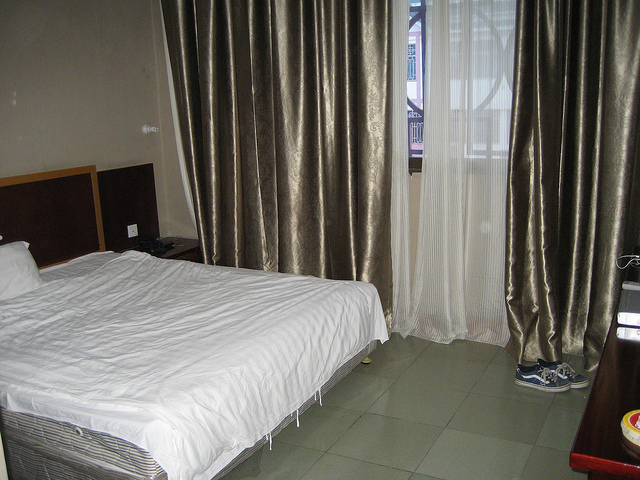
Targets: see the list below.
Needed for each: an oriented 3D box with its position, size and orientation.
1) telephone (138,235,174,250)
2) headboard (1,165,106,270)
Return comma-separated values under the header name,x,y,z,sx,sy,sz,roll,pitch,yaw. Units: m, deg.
name,x,y,z,sx,sy,sz,roll,pitch,yaw
telephone,-1.569,0.013,4.403,0.209,0.084,0.165,11,20,21
headboard,-2.149,-0.216,3.768,0.328,0.761,0.743,9,17,23
